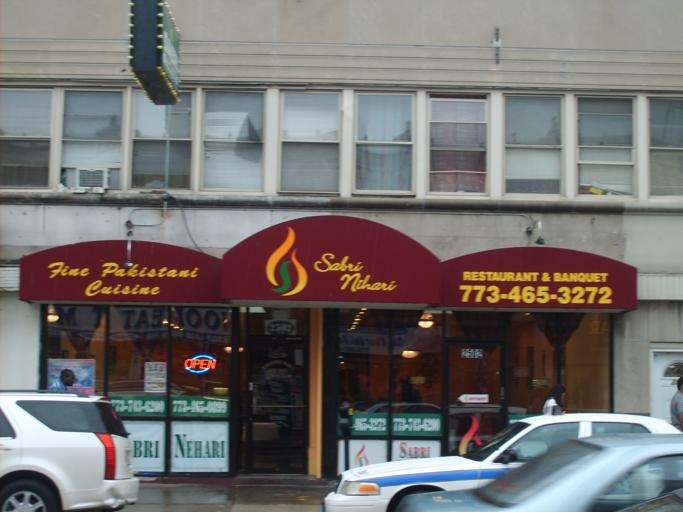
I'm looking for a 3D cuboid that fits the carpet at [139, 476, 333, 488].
[{"bbox_3d":[-1.884,4.623,35.898,2.380,0.072,0.282,1,11,-3],"label":"carpet"}]

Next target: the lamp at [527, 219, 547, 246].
[{"bbox_3d":[3.934,-0.403,36.198,0.377,0.445,0.529,1,19,4],"label":"lamp"}]

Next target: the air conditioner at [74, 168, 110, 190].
[{"bbox_3d":[-5.015,-1.477,36.178,0.858,0.456,0.423,0,-3,2],"label":"air conditioner"}]

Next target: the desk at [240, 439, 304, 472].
[{"bbox_3d":[-1.377,4.102,36.722,1.478,0.527,0.663,1,-5,-3],"label":"desk"}]
